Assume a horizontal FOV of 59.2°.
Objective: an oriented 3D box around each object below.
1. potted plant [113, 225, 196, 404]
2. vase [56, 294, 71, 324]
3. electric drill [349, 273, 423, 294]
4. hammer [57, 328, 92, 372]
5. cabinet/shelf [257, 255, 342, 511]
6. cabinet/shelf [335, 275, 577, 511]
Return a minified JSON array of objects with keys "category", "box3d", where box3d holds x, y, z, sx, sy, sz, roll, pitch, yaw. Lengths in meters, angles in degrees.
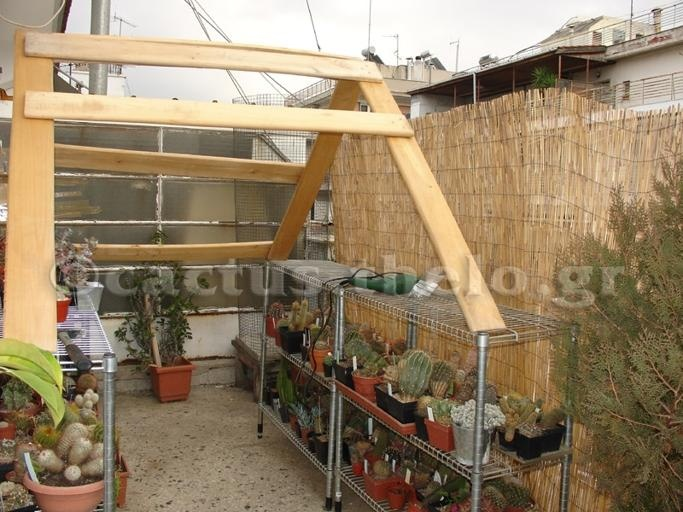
[{"category":"potted plant","box3d":[-1.757,0.705,5.660,0.715,1.241,0.565,-1,10,-19]},{"category":"vase","box3d":[-1.386,0.251,2.992,0.048,0.118,0.255,-2,9,-21]},{"category":"electric drill","box3d":[0.271,0.161,3.593,0.185,0.065,0.188,8,11,40]},{"category":"hammer","box3d":[-1.090,0.379,2.438,0.113,0.060,0.521,0,13,-31]},{"category":"cabinet/shelf","box3d":[-0.308,0.975,4.366,0.519,1.303,1.411,-3,13,-21]},{"category":"cabinet/shelf","box3d":[0.603,0.715,3.082,0.568,0.909,1.332,-10,17,-30]}]
